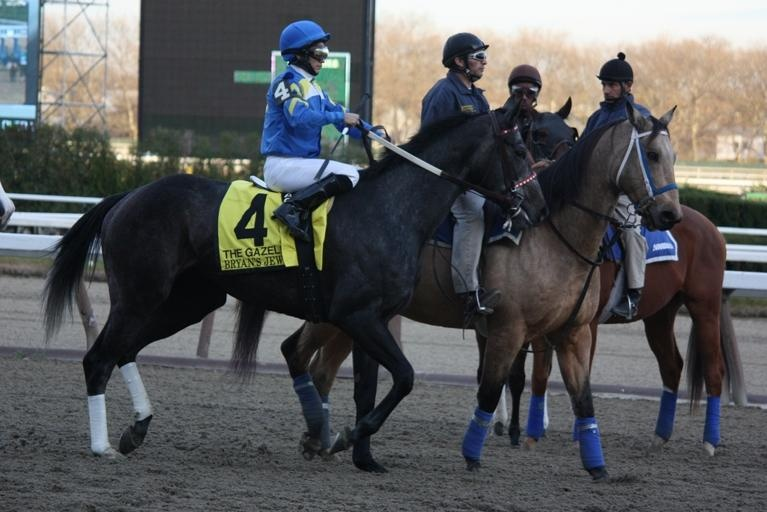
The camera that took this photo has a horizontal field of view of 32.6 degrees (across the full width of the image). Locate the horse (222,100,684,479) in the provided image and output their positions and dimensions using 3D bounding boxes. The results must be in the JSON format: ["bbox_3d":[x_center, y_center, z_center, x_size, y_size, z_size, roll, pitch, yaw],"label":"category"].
[{"bbox_3d":[0.712,0.467,13.527,5.263,3.686,1.266,-2,-9,34],"label":"horse"}]

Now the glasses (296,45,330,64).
[{"bbox_3d":[-0.696,-1.900,12.490,0.212,0.097,0.158,0,3,32],"label":"glasses"}]

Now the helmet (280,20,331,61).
[{"bbox_3d":[-0.796,-2.086,12.630,0.447,0.333,0.339,-12,0,8],"label":"helmet"}]
